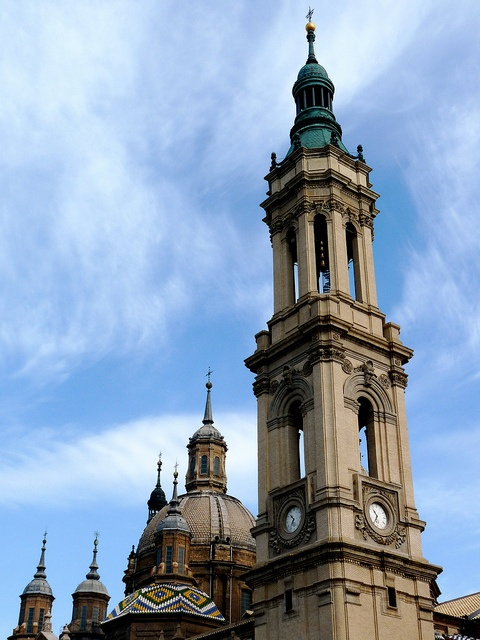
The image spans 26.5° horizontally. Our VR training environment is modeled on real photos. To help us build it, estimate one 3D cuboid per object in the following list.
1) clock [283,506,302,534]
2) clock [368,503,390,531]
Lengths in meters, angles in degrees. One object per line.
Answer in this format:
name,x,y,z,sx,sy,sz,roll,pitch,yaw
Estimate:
clock,2.096,7.972,39.603,0.080,0.889,0.863,22,-36,-20
clock,5.397,7.833,39.524,0.082,1.015,0.979,-29,-27,30
